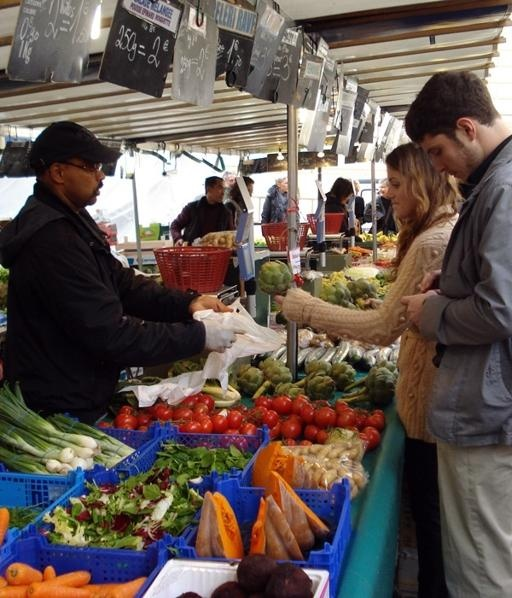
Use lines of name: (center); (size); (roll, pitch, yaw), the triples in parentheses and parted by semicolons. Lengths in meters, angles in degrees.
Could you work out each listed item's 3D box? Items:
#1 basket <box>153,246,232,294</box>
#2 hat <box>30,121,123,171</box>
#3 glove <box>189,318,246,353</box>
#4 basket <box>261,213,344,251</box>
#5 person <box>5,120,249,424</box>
basket: (-0.425, -0.207, 3.053); (0.400, 0.176, 0.379); (0, 8, -12)
hat: (-0.810, -0.643, 1.993); (0.337, 0.178, 0.215); (-16, 18, -2)
glove: (-0.167, 0.165, 2.065); (0.201, 0.186, 0.127); (7, -1, 3)
basket: (0.522, -0.935, 5.894); (0.954, 0.423, 1.386); (-1, 0, 15)
person: (-0.670, -0.107, 1.950); (0.884, 1.258, 0.396); (7, 6, 0)
